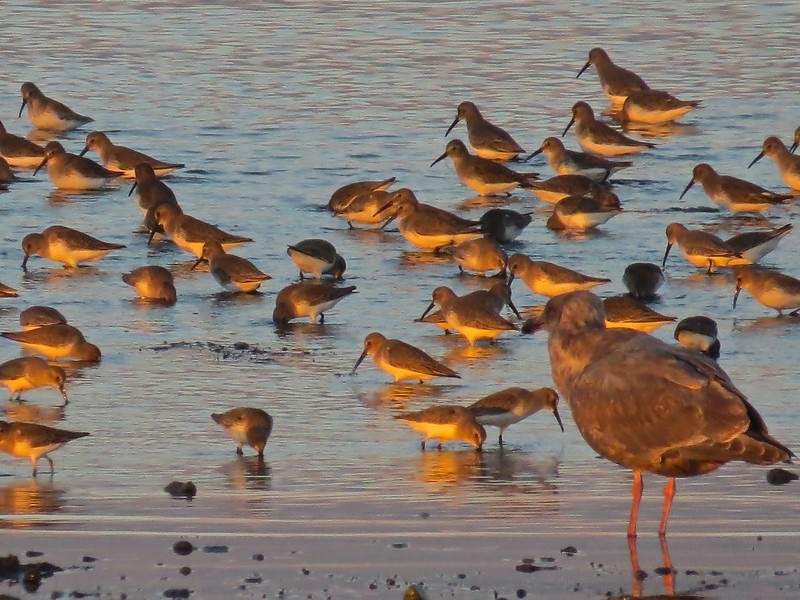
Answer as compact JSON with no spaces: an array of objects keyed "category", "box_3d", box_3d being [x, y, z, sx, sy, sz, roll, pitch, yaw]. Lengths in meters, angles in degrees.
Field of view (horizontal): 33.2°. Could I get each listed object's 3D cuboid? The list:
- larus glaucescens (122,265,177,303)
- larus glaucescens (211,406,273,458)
[{"category":"larus glaucescens","box_3d":[-3.171,-0.193,17.262,0.435,0.325,0.731,-6,26,-37]},{"category":"larus glaucescens","box_3d":[-1.462,1.233,12.320,0.859,0.384,0.411,14,-29,-43]}]
